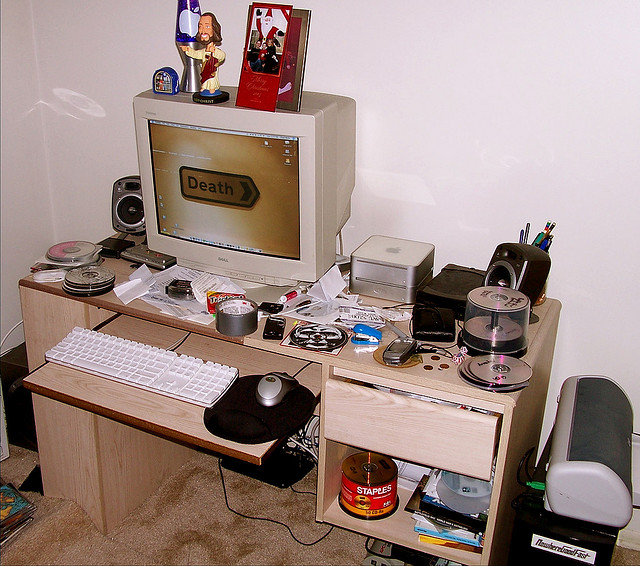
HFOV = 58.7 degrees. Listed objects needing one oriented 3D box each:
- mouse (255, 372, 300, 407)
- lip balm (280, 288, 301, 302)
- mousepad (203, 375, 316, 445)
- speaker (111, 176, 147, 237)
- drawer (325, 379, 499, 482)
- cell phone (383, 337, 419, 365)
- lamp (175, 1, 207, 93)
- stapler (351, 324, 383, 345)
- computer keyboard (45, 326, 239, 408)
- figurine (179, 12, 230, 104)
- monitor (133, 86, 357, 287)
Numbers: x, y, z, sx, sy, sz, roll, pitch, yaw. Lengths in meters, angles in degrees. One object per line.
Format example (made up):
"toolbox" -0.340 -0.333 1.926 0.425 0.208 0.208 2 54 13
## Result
"mouse" -0.121 0.244 1.382 0.084 0.044 0.136 14 22 3
"lip balm" -0.082 0.032 1.620 0.021 0.020 0.075 4 23 45
"mousepad" -0.153 0.292 1.328 0.255 0.057 0.235 17 29 32
"speaker" -0.629 -0.260 1.976 0.143 0.185 0.109 3 5 17
"drawer" 0.272 0.300 1.447 0.476 0.203 0.335 4 15 34
"cell phone" 0.182 0.153 1.350 0.046 0.029 0.078 12 32 25
"lamp" -0.360 -0.686 1.690 0.109 0.270 0.059 25 37 33
"stapler" 0.117 0.128 1.421 0.071 0.036 0.041 0 23 8
"computer keyboard" -0.463 0.206 1.442 0.510 0.052 0.135 10 23 19
"figurine" -0.325 -0.633 1.605 0.136 0.229 0.100 5 25 6
"monitor" -0.194 -0.310 1.752 0.607 0.479 0.440 11 26 21
